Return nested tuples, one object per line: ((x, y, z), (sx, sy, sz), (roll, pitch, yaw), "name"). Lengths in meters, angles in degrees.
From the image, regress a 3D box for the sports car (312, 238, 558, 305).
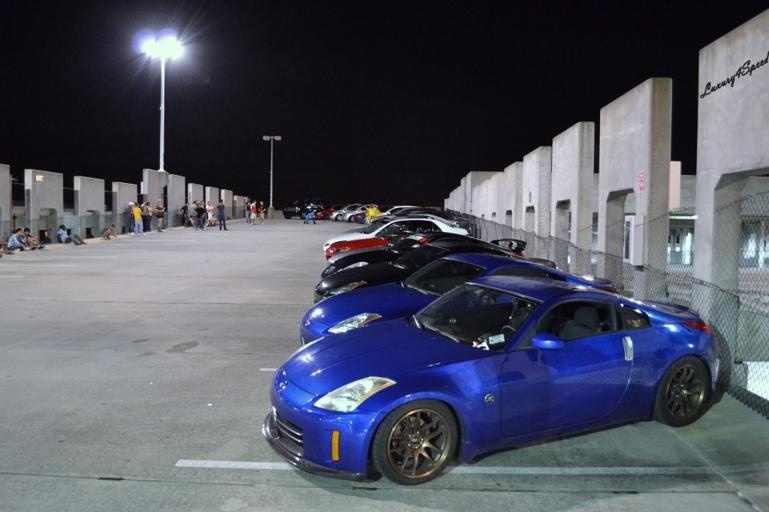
((0.585, 0.531, 11.687), (3.959, 1.216, 1.814), (-1, 6, -6), "sports car")

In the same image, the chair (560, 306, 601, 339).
((2.230, 0.714, 6.686), (0.448, 0.413, 0.312), (5, 19, -39), "chair")

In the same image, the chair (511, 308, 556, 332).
((1.647, 0.686, 6.357), (0.361, 0.102, 0.223), (0, 7, -7), "chair")

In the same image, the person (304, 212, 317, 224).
((-6.547, -3.641, 52.009), (1.337, 0.793, 2.123), (3, 17, -12), "person")

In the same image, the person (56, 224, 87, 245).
((-16.385, -1.267, 30.019), (1.693, 0.940, 0.712), (9, 23, 17), "person")

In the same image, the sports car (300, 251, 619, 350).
((1.003, 0.873, 8.959), (4.561, 1.306, 1.956), (-1, 4, -8), "sports car")

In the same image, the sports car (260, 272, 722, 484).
((1.562, 1.247, 6.825), (5.766, 1.862, 1.825), (-2, 9, -25), "sports car")
